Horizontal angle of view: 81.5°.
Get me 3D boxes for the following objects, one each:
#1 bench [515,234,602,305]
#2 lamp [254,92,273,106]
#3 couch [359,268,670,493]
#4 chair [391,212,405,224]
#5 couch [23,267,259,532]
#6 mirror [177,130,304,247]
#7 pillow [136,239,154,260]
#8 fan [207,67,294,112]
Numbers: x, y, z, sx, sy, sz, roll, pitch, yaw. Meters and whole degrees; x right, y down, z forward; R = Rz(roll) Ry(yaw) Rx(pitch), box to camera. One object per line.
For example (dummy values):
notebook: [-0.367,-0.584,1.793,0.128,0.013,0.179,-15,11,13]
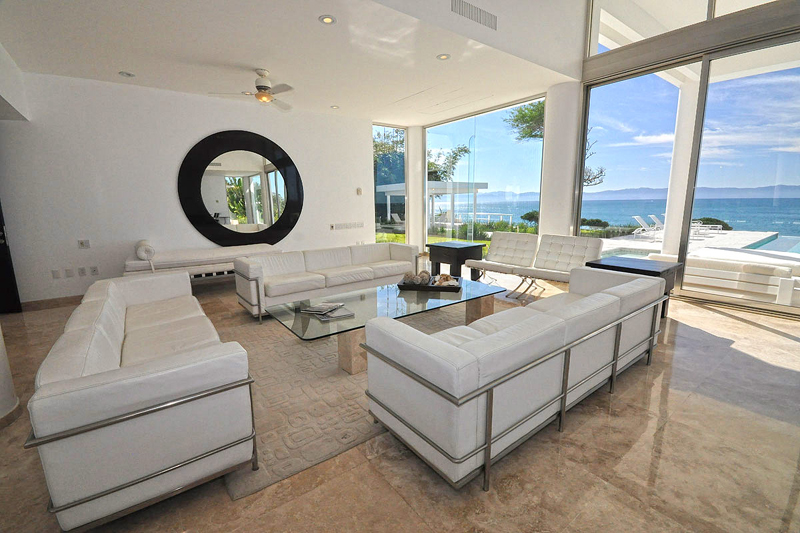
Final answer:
bench: [2.658,-0.105,7.596,1.333,1.354,1.058,6,11,44]
lamp: [-2.007,-2.505,6.876,0.241,0.116,0.293,-4,9,-10]
couch: [1.393,1.037,4.981,3.394,1.567,1.101,-7,11,-30]
chair: [-0.054,-1.160,11.384,0.310,0.156,0.162,1,9,8]
couch: [-2.437,1.215,4.752,1.682,1.713,1.893,-6,10,-18]
mirror: [-3.085,-1.478,8.699,2.355,2.243,0.043,-5,9,-34]
pillow: [-4.100,-0.249,7.440,0.311,0.298,0.316,-9,17,-39]
fan: [-2.457,-2.871,7.515,0.673,0.233,0.677,6,7,42]
